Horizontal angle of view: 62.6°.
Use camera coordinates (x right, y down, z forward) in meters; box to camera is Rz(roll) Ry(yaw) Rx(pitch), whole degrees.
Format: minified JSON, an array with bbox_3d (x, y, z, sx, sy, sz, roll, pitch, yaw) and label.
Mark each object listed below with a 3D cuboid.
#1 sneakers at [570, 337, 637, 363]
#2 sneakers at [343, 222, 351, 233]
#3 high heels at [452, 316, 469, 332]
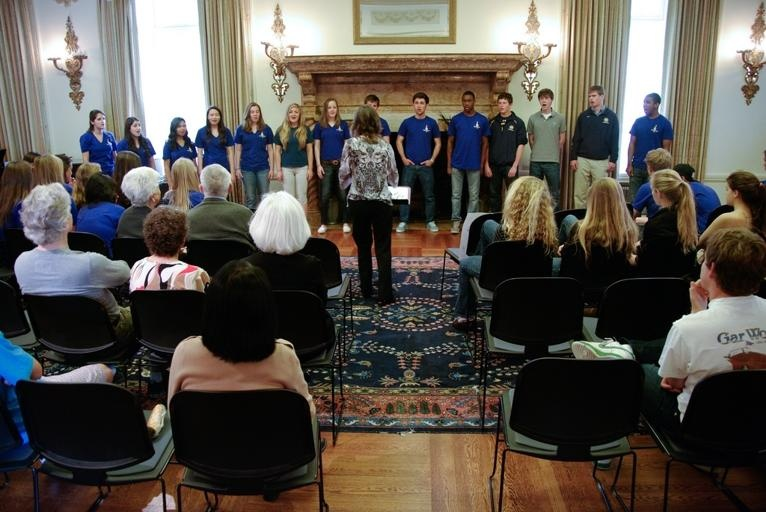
[{"bbox_3d":[1.287,0.543,3.634,0.245,0.089,0.099,6,36,19],"label":"sneakers"},{"bbox_3d":[-0.499,-0.387,8.589,0.154,0.167,0.425,-1,2,-1],"label":"sneakers"},{"bbox_3d":[0.666,0.581,5.390,0.066,0.067,0.183,2,5,-1],"label":"high heels"}]
